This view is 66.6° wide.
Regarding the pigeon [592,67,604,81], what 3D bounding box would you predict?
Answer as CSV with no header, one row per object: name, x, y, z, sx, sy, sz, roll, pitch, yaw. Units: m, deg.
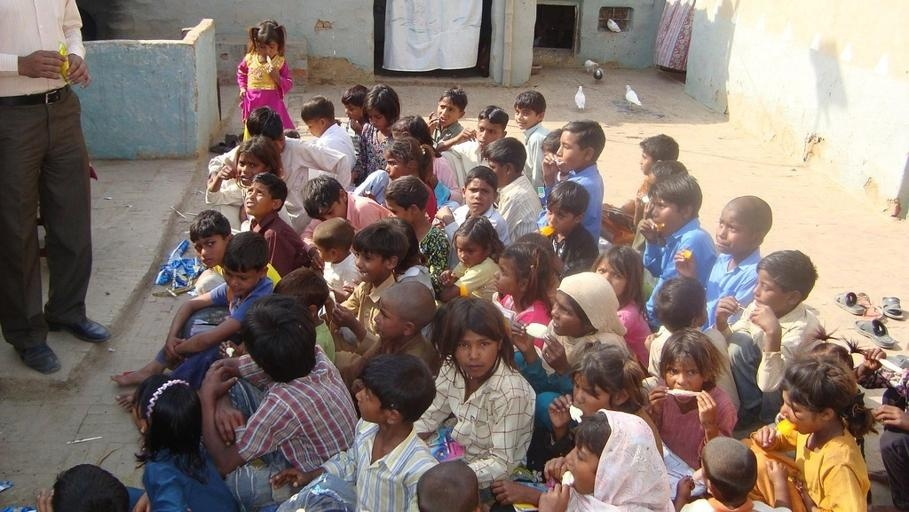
pigeon,3.036,-3.905,14.745,0.264,0.260,0.121,-4,-10,16

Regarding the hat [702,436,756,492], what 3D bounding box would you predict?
hat,2.025,1.544,5.284,0.332,0.376,0.401,-10,30,-1

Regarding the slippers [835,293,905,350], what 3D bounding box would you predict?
slippers,4.471,0.638,7.377,0.492,0.173,0.668,3,26,9
